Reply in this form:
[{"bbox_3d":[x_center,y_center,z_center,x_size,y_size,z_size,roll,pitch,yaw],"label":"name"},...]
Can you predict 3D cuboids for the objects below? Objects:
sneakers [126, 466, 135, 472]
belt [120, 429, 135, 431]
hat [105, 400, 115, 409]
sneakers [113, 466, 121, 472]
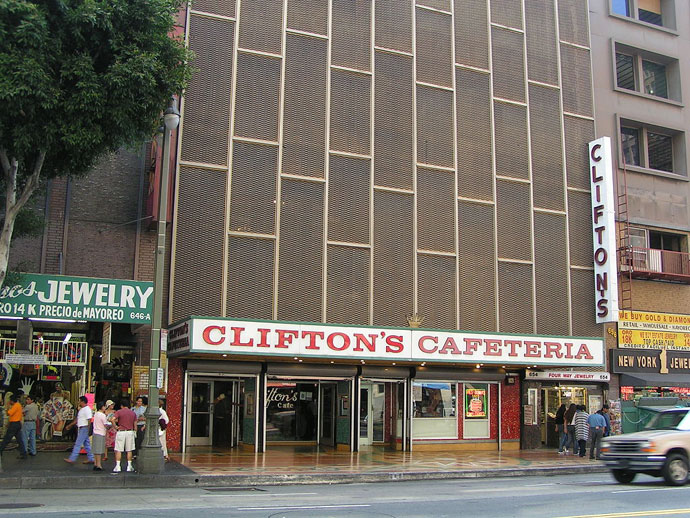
[{"bbox_3d":[-6.072,5.883,21.820,0.179,0.191,0.119,6,-19,-21],"label":"sneakers"},{"bbox_3d":[-6.154,4.772,21.756,0.420,0.041,0.125,10,-18,-39],"label":"belt"},{"bbox_3d":[-7.065,4.270,23.145,0.316,0.119,0.332,-5,-22,-13],"label":"hat"},{"bbox_3d":[-6.340,5.770,21.433,0.188,0.220,0.192,-5,-14,34],"label":"sneakers"}]
